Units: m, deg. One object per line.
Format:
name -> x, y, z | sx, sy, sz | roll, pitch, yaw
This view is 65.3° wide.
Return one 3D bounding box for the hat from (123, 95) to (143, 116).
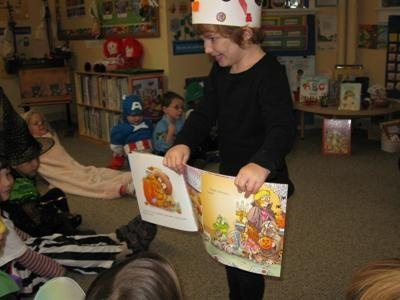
hat -> -0.756, -0.523, 3.638 | 0.235, 0.225, 0.190 | -4, 20, -6
